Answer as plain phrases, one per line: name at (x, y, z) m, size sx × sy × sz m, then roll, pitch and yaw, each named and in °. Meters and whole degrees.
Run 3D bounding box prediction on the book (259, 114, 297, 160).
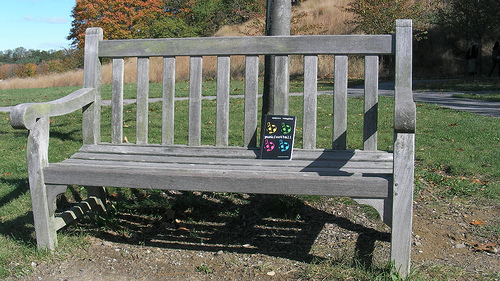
book at (0.352, -0.053, 5.558) m, size 0.459 × 0.565 × 0.195 m, roll 0°, pitch 9°, yaw 7°
